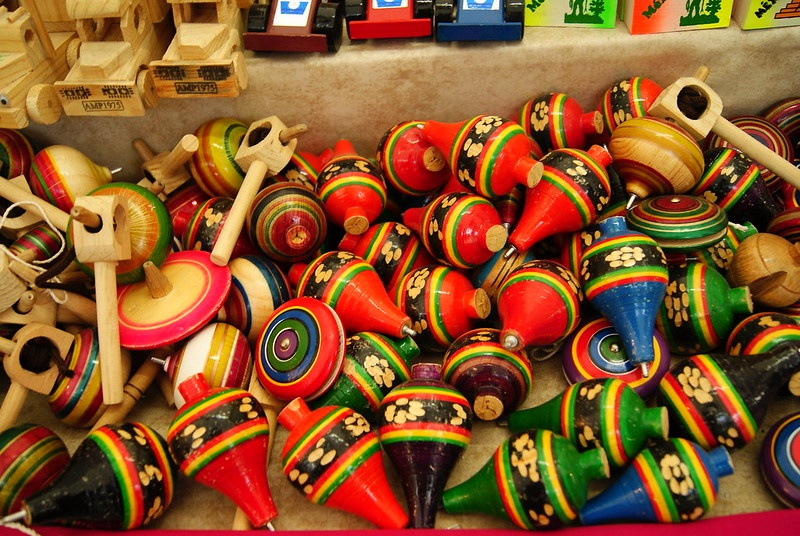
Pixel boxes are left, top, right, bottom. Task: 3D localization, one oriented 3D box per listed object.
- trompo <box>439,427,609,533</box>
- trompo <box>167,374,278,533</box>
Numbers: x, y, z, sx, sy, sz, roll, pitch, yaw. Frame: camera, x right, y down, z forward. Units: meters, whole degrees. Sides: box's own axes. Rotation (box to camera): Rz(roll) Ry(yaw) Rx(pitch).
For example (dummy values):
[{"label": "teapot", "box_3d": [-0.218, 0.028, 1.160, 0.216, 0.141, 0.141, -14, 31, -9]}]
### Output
[{"label": "trompo", "box_3d": [0.380, 0.641, 1.991, 0.416, 0.257, 0.242, -18, 12, 17]}, {"label": "trompo", "box_3d": [-0.564, 0.592, 2.201, 0.261, 0.239, 0.511, -31, 81, -18]}]
